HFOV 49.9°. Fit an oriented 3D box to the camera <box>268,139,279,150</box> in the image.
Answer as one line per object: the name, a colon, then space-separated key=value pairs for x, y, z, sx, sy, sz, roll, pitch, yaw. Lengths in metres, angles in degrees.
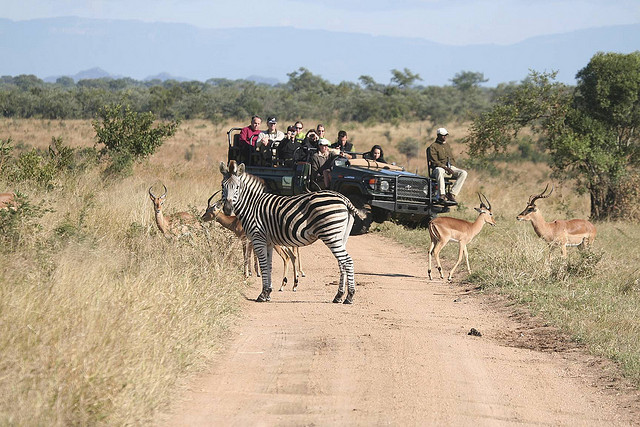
camera: x=-1.341 y=-1.926 z=19.292 sx=0.279 sy=0.250 sz=0.309 roll=8 pitch=11 yaw=-7

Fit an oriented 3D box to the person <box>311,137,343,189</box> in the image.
person: x=0.031 y=-1.516 z=18.990 sx=0.765 sy=1.899 sz=0.476 roll=2 pitch=8 yaw=-16

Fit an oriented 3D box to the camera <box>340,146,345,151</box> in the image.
camera: x=0.638 y=-1.926 z=20.316 sx=0.142 sy=0.105 sz=0.391 roll=10 pitch=12 yaw=0
